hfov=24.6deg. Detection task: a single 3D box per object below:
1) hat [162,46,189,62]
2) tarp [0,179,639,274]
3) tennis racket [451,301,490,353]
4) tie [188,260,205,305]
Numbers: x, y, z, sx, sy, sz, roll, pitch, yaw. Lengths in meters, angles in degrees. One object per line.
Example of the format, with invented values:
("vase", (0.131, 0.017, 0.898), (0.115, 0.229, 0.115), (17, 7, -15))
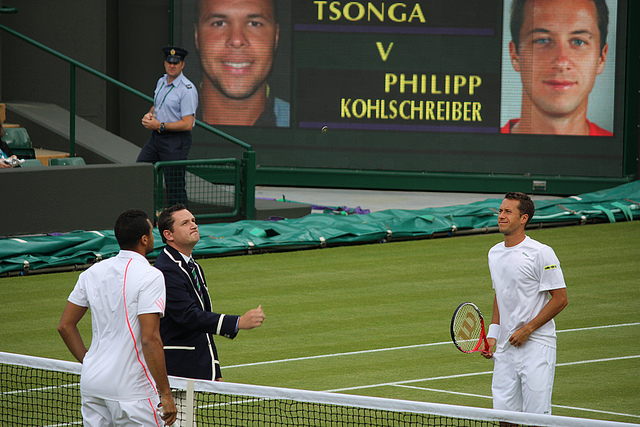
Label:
("hat", (-2.575, -2.883, 26.010), (0.411, 0.316, 0.389), (-2, -2, -5))
("tarp", (0.248, 0.257, 27.113), (12.333, 1.002, 1.429), (-2, -2, -19))
("tennis racket", (1.992, 1.537, 19.970), (0.553, 0.508, 0.358), (-2, -2, -25))
("tie", (-1.647, 0.839, 19.455), (0.087, 0.802, 0.085), (-19, 6, -9))
